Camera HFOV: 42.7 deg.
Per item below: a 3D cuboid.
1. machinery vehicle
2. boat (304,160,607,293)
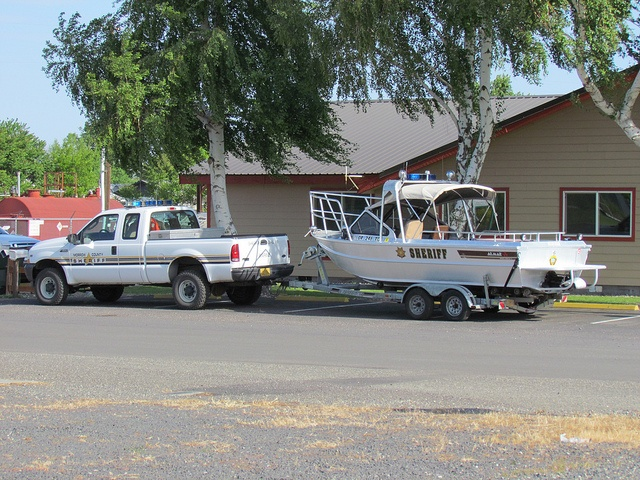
[{"bbox_3d":[2.168,1.224,19.510,6.802,0.979,2.288,4,7,26],"label":"machinery vehicle"},{"bbox_3d":[3.339,0.024,19.527,6.481,3.264,5.106,6,8,40],"label":"boat"}]
